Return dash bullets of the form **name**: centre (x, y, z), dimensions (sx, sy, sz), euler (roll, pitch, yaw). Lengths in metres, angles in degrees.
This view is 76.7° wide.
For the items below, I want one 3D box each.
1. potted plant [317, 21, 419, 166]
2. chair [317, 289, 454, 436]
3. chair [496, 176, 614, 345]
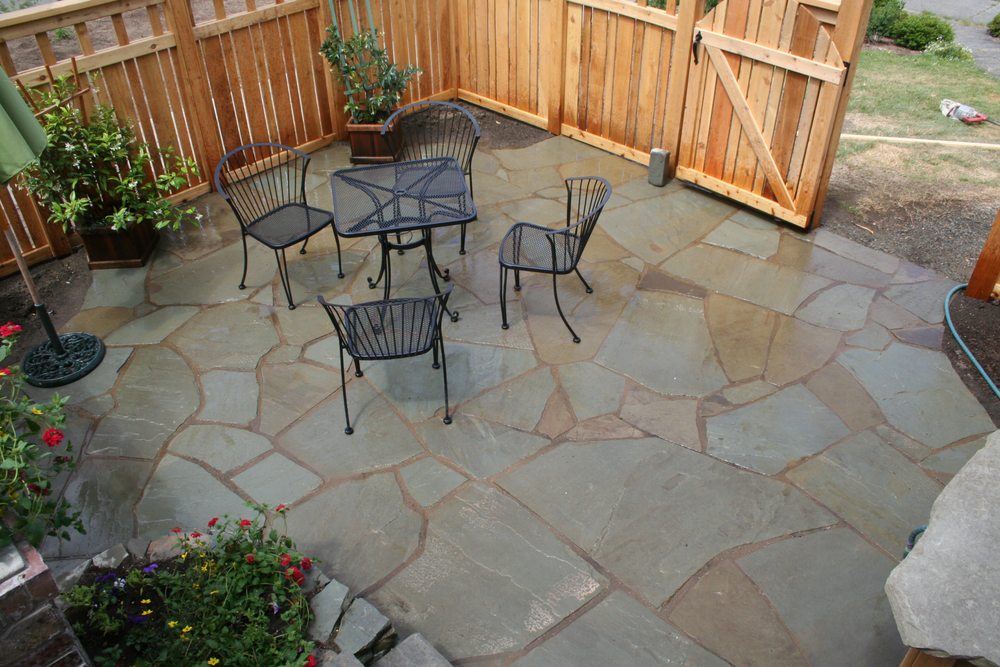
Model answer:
- **potted plant**: centre (-1.597, -2.933, 7.645), dimensions (1.129, 1.470, 0.895), euler (28, 44, 28)
- **chair**: centre (-0.859, 0.042, 4.927), dimensions (0.829, 1.207, 0.812), euler (-6, 35, -8)
- **chair**: centre (0.549, -0.647, 6.068), dimensions (1.033, 1.418, 1.049), euler (7, 55, 4)
